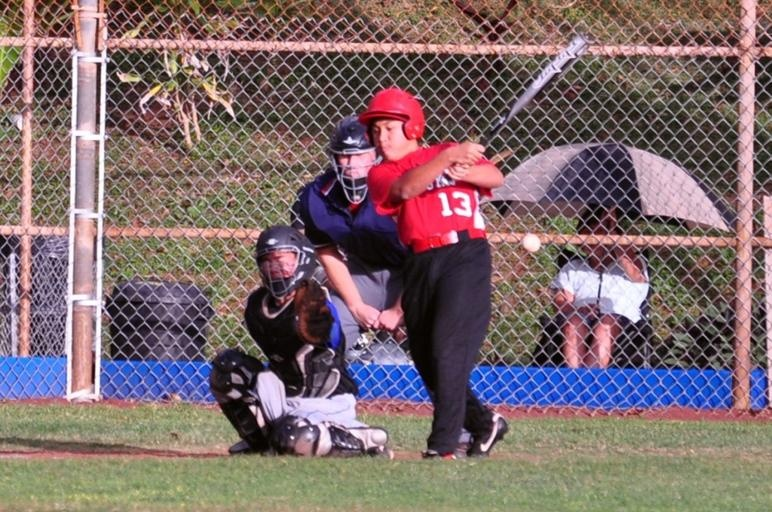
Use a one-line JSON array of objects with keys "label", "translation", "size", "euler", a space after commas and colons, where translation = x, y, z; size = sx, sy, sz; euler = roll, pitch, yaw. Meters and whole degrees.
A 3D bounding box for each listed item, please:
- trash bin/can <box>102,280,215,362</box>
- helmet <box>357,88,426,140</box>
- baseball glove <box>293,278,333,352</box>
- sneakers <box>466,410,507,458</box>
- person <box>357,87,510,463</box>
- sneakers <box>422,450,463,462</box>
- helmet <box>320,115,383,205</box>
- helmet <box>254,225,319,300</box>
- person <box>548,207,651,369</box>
[{"label": "trash bin/can", "translation": [-1.855, 0.588, 11.616], "size": [0.711, 0.499, 0.674], "euler": [2, -8, -10]}, {"label": "helmet", "translation": [0.112, -0.888, 9.183], "size": [0.468, 0.361, 0.352], "euler": [-8, -2, 1]}, {"label": "baseball glove", "translation": [-0.454, 0.364, 8.907], "size": [0.255, 0.393, 0.126], "euler": [-5, -6, -40]}, {"label": "sneakers", "translation": [0.663, 1.188, 9.275], "size": [0.169, 0.389, 0.144], "euler": [29, -13, -27]}, {"label": "person", "translation": [0.440, 0.115, 9.190], "size": [0.973, 2.451, 1.111], "euler": [-11, -11, 34]}, {"label": "sneakers", "translation": [0.346, 1.267, 8.957], "size": [0.177, 0.042, 0.104], "euler": [4, -6, -3]}, {"label": "helmet", "translation": [-0.194, -0.700, 9.823], "size": [0.393, 0.538, 0.549], "euler": [-2, 20, 13]}, {"label": "helmet", "translation": [-0.650, 0.033, 9.079], "size": [0.365, 0.454, 0.465], "euler": [-9, 3, 22]}, {"label": "person", "translation": [1.692, 0.392, 11.198], "size": [0.721, 0.935, 0.518], "euler": [0, 11, -4]}]
